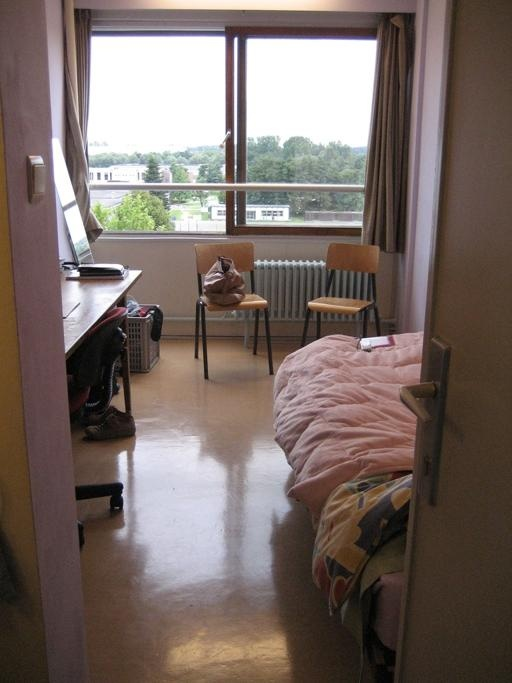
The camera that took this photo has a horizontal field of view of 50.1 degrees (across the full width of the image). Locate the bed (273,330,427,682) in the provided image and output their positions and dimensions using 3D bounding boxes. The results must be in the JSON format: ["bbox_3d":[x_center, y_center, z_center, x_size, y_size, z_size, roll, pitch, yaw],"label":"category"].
[{"bbox_3d":[0.241,0.457,1.493,0.323,0.212,0.837,2,22,1],"label":"bed"}]

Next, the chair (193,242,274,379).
[{"bbox_3d":[-0.174,-0.234,3.918,0.620,0.925,0.637,-13,17,-41],"label":"chair"}]

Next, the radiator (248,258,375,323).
[{"bbox_3d":[0.270,-0.426,4.627,0.675,0.414,0.086,-1,12,15],"label":"radiator"}]

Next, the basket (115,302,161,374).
[{"bbox_3d":[-0.765,-0.020,3.548,0.216,0.406,0.406,1,15,0],"label":"basket"}]

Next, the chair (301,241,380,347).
[{"bbox_3d":[0.642,-0.285,4.084,0.557,0.900,0.602,3,12,5],"label":"chair"}]

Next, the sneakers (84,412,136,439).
[{"bbox_3d":[-0.767,0.449,2.996,0.302,0.156,0.117,-1,13,-10],"label":"sneakers"}]

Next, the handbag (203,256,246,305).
[{"bbox_3d":[-0.212,-0.393,3.767,0.267,0.314,0.176,-1,4,-1],"label":"handbag"}]
